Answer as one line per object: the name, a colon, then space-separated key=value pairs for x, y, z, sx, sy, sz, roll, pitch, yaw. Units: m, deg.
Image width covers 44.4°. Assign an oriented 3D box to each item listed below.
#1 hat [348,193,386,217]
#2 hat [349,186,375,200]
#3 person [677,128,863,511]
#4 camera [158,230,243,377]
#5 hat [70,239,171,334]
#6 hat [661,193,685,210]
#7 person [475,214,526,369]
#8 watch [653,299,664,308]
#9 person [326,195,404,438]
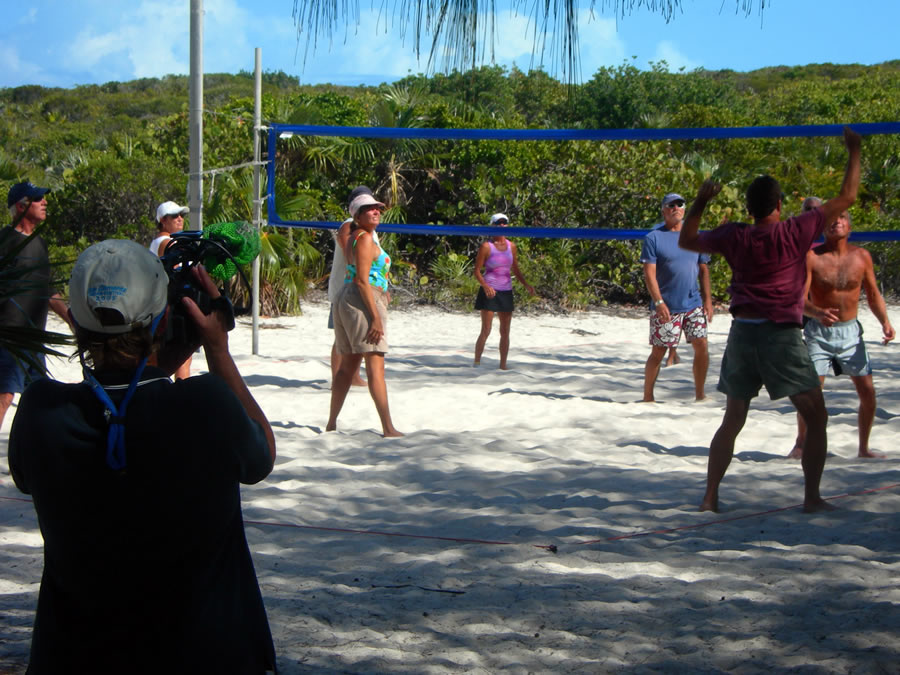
hat: x=-0.513 y=-0.803 z=6.609 sx=0.192 sy=0.096 sz=0.141 roll=-17 pitch=1 yaw=17
hat: x=-0.548 y=-0.876 z=6.714 sx=0.098 sy=0.070 sz=0.106 roll=-5 pitch=8 yaw=0
person: x=1.487 y=-0.062 z=5.302 sx=0.792 sy=1.797 sz=0.450 roll=3 pitch=9 yaw=18
camera: x=-0.784 y=-0.085 z=3.341 sx=0.258 sy=0.196 sz=0.426 roll=-7 pitch=-3 yaw=-14
hat: x=-0.929 y=-0.180 z=3.098 sx=0.306 sy=0.199 sz=0.380 roll=0 pitch=27 yaw=-5
hat: x=1.571 y=-0.959 z=7.846 sx=0.112 sy=0.074 sz=0.147 roll=0 pitch=2 yaw=-4
person: x=0.394 y=-0.287 z=9.267 sx=0.440 sy=1.116 sz=0.519 roll=2 pitch=9 yaw=12
watch: x=1.427 y=-0.229 z=7.584 sx=0.053 sy=0.050 sz=0.049 roll=3 pitch=9 yaw=17
person: x=-0.535 y=-0.113 z=6.646 sx=0.451 sy=1.473 sz=0.507 roll=-1 pitch=9 yaw=-7
